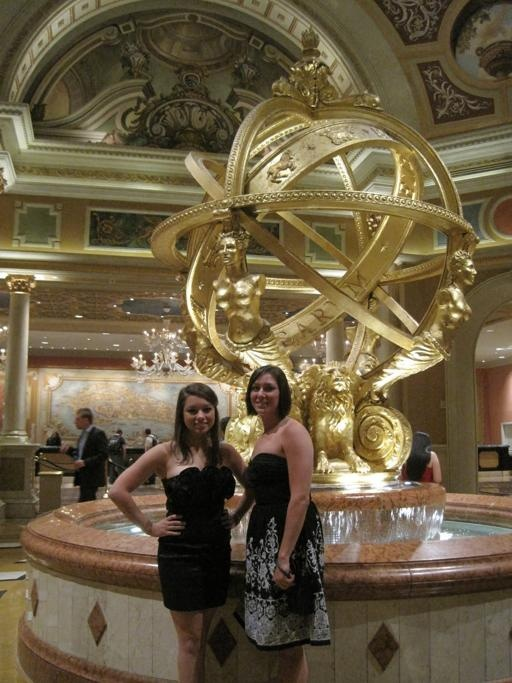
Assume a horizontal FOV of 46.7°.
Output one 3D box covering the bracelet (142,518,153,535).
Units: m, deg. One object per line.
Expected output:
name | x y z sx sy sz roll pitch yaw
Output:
bracelet | -0.316 0.543 1.733 0.039 0.039 0.047 -6 -27 -13

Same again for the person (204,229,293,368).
person | -0.012 -0.244 3.033 0.433 0.781 0.693 2 -10 -5

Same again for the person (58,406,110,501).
person | -1.526 1.023 5.297 0.422 0.886 1.349 4 -10 -17

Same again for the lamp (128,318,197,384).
lamp | -2.463 0.228 15.024 1.615 1.886 1.381 -5 -36 2
